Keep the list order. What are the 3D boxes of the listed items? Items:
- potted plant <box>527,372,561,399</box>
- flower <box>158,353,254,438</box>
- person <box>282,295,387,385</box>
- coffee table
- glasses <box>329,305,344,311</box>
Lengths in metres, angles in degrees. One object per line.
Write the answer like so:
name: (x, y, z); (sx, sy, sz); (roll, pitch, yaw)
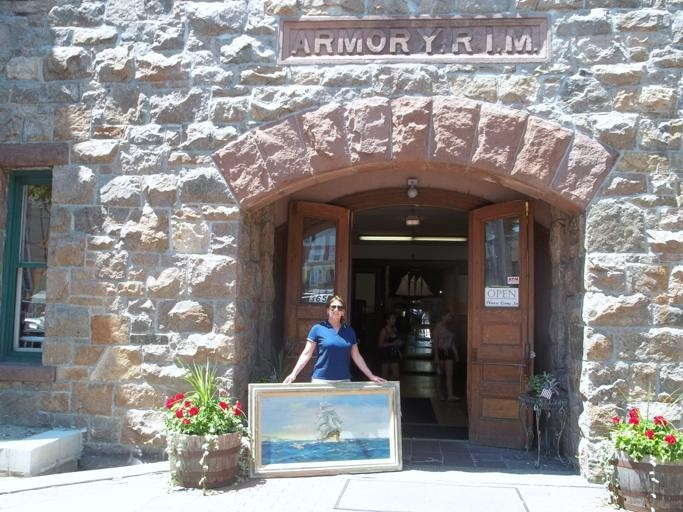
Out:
potted plant: (2.109, 1.339, 6.274); (0.263, 0.141, 0.231); (0, 0, -30)
flower: (-1.264, 1.221, 5.598); (0.668, 0.715, 0.727); (5, -7, -33)
person: (-0.117, 0.820, 5.936); (1.006, 0.810, 0.303); (4, -9, -20)
coffee table: (2.138, 1.752, 6.246); (0.521, 0.569, 0.497); (0, -13, -18)
glasses: (-0.036, 0.498, 5.823); (0.147, 0.054, 0.078); (1, -2, -29)
